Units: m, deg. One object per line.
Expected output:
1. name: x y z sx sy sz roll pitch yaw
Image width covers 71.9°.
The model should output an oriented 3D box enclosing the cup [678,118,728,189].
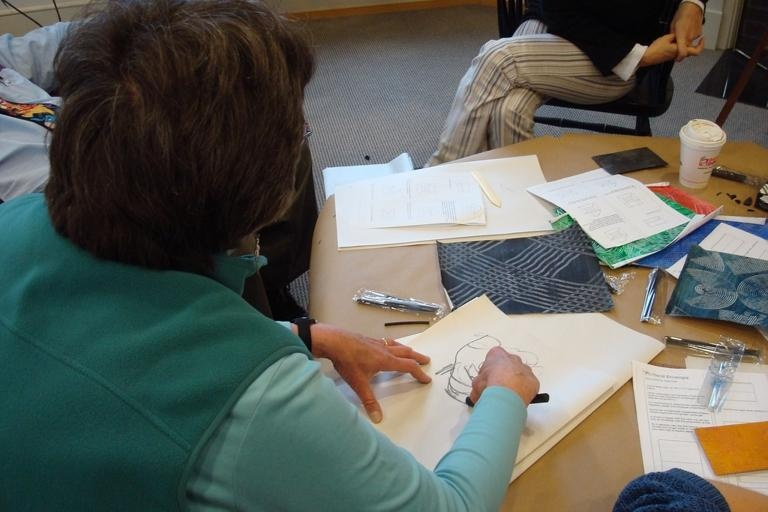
1. cup: 0.877 -0.279 1.471 0.128 0.154 0.128 -3 30 2

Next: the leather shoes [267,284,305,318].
1. leather shoes: -0.389 0.172 2.059 0.151 0.045 0.117 23 44 1
